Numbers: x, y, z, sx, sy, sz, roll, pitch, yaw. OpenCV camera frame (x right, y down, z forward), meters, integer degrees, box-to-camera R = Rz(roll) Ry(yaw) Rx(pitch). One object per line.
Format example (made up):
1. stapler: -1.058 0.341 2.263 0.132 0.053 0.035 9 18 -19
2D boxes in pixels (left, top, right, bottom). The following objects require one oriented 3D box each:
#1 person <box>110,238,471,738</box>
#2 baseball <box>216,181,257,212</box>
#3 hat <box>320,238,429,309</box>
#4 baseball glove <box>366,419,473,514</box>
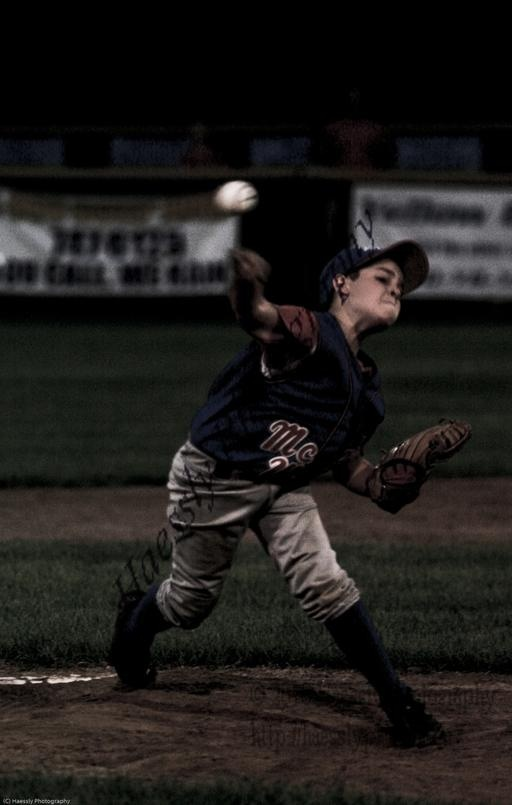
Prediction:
1. person: 0.178 0.274 4.108 1.036 1.589 1.037 -1 7 -25
2. baseball: -0.050 -0.575 3.559 0.119 0.084 0.053 -7 -21 -19
3. hat: 0.371 -0.425 4.021 0.312 0.103 0.199 -25 -27 23
4. baseball glove: 0.529 0.208 4.240 0.376 0.228 0.173 -31 -5 -8
